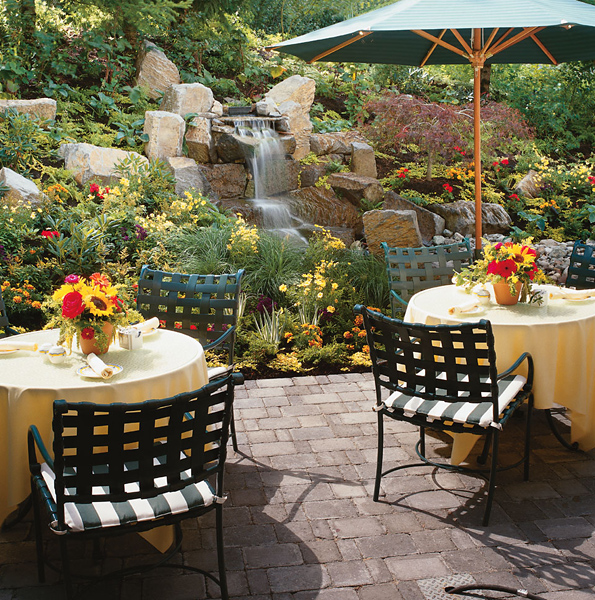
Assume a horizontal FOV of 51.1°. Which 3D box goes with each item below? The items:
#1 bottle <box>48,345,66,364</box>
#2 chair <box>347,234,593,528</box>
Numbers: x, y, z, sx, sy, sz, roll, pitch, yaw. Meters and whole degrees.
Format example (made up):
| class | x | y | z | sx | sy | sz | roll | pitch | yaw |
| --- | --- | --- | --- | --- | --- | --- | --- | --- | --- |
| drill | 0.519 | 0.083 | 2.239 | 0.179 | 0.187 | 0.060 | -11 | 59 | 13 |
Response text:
| class | x | y | z | sx | sy | sz | roll | pitch | yaw |
| --- | --- | --- | --- | --- | --- | --- | --- | --- | --- |
| bottle | -1.155 | 0.266 | 3.020 | 0.097 | 0.071 | 0.084 | -3 | 8 | -21 |
| chair | 0.827 | 0.498 | 3.345 | 0.799 | 1.065 | 0.817 | 8 | 18 | 29 |
